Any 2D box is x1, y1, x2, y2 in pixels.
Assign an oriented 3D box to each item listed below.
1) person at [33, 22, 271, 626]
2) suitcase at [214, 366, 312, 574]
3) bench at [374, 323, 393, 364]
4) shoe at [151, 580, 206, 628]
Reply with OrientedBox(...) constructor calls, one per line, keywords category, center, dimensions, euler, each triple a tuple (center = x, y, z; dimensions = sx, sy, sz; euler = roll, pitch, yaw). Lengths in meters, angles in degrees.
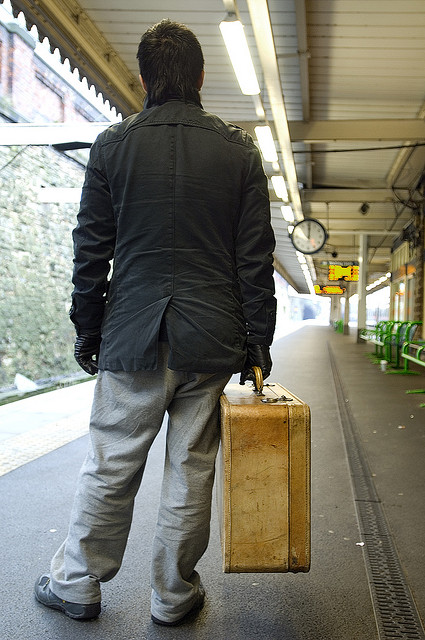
OrientedBox(category="person", center=(-0.183, 0.042, 1.634), dimensions=(0.616, 1.869, 0.431), euler=(1, -2, 34))
OrientedBox(category="suitcase", center=(0.141, 0.453, 1.389), dimensions=(0.246, 0.449, 0.077), euler=(2, -2, -12))
OrientedBox(category="bench", center=(4.562, 0.594, 13.629), dimensions=(0.438, 1.074, 1.816), euler=(-6, -1, 10))
OrientedBox(category="shoe", center=(-0.109, 0.967, 1.739), dimensions=(0.065, 0.080, 0.197), euler=(13, 19, 22))
